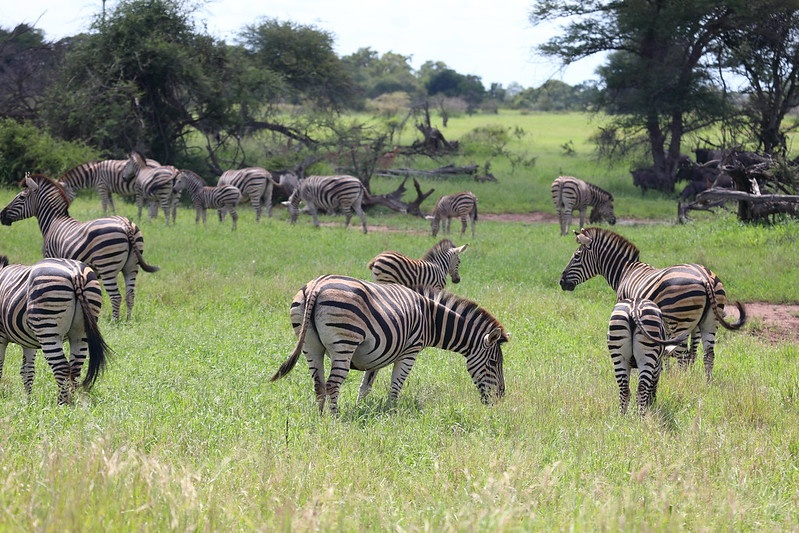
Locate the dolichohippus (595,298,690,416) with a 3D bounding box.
[{"bbox_3d":[5.330,2.050,22.981,1.319,2.532,0.515,2,8,13],"label":"dolichohippus"}]

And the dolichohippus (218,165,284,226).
[{"bbox_3d":[-5.961,-2.683,38.593,3.315,2.219,1.030,0,1,43],"label":"dolichohippus"}]

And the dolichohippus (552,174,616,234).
[{"bbox_3d":[6.851,-2.112,38.524,3.025,2.199,0.922,10,-9,-40],"label":"dolichohippus"}]

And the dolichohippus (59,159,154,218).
[{"bbox_3d":[-9.740,-2.672,34.877,3.686,2.058,0.949,-7,31,-8],"label":"dolichohippus"}]

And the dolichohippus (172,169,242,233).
[{"bbox_3d":[-6.804,-2.262,36.402,2.150,1.985,0.726,8,16,13],"label":"dolichohippus"}]

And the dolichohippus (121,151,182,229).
[{"bbox_3d":[-8.386,-2.658,34.833,2.884,2.222,1.068,12,8,34],"label":"dolichohippus"}]
